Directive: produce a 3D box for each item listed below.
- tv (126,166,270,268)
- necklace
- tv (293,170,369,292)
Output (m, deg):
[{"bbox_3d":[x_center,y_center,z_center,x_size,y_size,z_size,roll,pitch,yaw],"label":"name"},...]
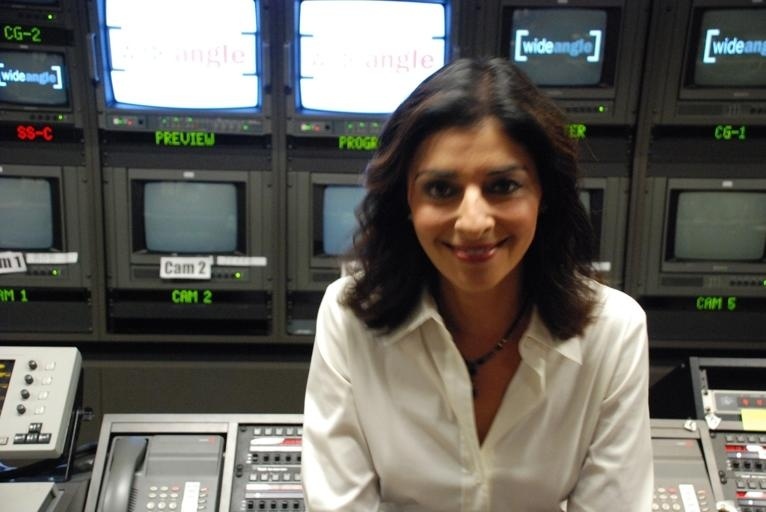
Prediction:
[{"bbox_3d":[-1.180,-0.304,4.183,0.933,0.594,0.512,3,11,12],"label":"tv"},{"bbox_3d":[0.414,0.296,2.190,0.302,0.403,0.104,-4,0,15],"label":"necklace"},{"bbox_3d":[-0.316,-0.196,4.260,0.481,0.827,0.610,5,1,11],"label":"tv"}]
